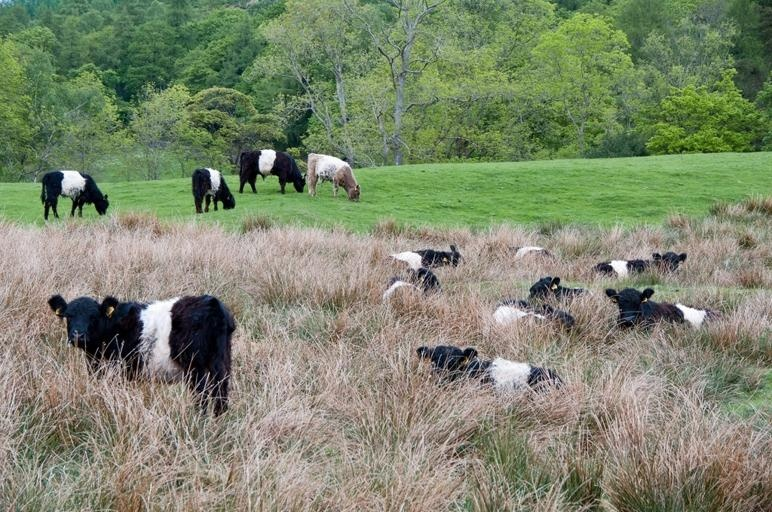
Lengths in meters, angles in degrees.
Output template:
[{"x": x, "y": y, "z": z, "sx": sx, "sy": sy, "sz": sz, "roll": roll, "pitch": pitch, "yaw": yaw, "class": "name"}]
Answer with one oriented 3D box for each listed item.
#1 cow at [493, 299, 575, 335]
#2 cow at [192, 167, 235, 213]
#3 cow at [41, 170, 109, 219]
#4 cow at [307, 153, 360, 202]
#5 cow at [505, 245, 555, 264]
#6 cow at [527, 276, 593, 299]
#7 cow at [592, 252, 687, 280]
[{"x": 3.954, "y": 1.556, "z": 21.503, "sx": 1.444, "sy": 0.630, "sz": 1.006, "roll": 12, "pitch": -7, "yaw": -14, "class": "cow"}, {"x": -6.639, "y": -2.520, "z": 30.505, "sx": 1.489, "sy": 1.566, "sz": 0.820, "roll": -5, "pitch": 16, "yaw": -22, "class": "cow"}, {"x": -11.724, "y": -2.278, "z": 29.756, "sx": 2.250, "sy": 1.781, "sz": 1.874, "roll": -9, "pitch": 18, "yaw": -32, "class": "cow"}, {"x": -2.260, "y": -3.574, "z": 34.974, "sx": 2.315, "sy": 1.769, "sz": 3.142, "roll": 1, "pitch": 15, "yaw": 0, "class": "cow"}, {"x": 4.798, "y": -0.129, "z": 26.152, "sx": 1.442, "sy": 0.355, "sz": 1.358, "roll": 4, "pitch": 16, "yaw": 10, "class": "cow"}, {"x": 4.836, "y": 0.928, "z": 22.613, "sx": 1.278, "sy": 0.709, "sz": 0.696, "roll": 4, "pitch": -3, "yaw": 10, "class": "cow"}, {"x": 7.874, "y": 0.268, "z": 24.614, "sx": 2.768, "sy": 0.666, "sz": 0.814, "roll": 1, "pitch": 15, "yaw": 0, "class": "cow"}]
